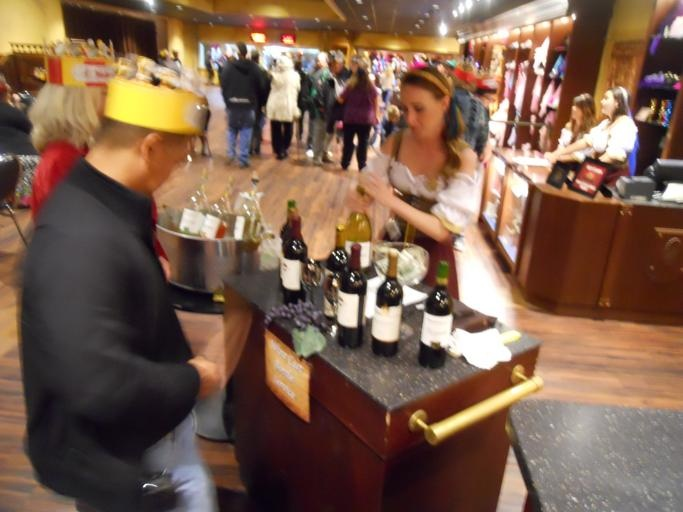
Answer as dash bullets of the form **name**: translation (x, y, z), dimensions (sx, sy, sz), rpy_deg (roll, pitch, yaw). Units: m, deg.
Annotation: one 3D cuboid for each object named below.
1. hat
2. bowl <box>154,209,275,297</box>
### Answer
- **hat**: translation (-0.609, -0.461, 1.517), dimensions (0.219, 0.121, 0.228), rpy_deg (20, 22, 19)
- **bowl**: translation (-0.954, -0.108, 3.299), dimensions (0.612, 0.386, 0.646), rpy_deg (10, 16, -3)
